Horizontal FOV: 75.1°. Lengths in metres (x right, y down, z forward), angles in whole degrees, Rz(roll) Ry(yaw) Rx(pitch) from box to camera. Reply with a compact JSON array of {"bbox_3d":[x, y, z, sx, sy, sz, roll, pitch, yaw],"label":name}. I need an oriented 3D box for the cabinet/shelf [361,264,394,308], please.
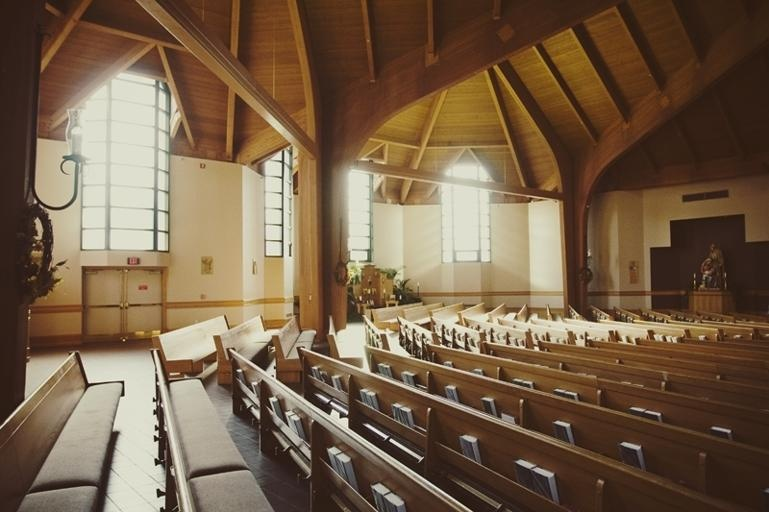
[{"bbox_3d":[-0.483,0.930,14.868,0.876,1.227,0.860,6,-8,-39],"label":"cabinet/shelf"}]
